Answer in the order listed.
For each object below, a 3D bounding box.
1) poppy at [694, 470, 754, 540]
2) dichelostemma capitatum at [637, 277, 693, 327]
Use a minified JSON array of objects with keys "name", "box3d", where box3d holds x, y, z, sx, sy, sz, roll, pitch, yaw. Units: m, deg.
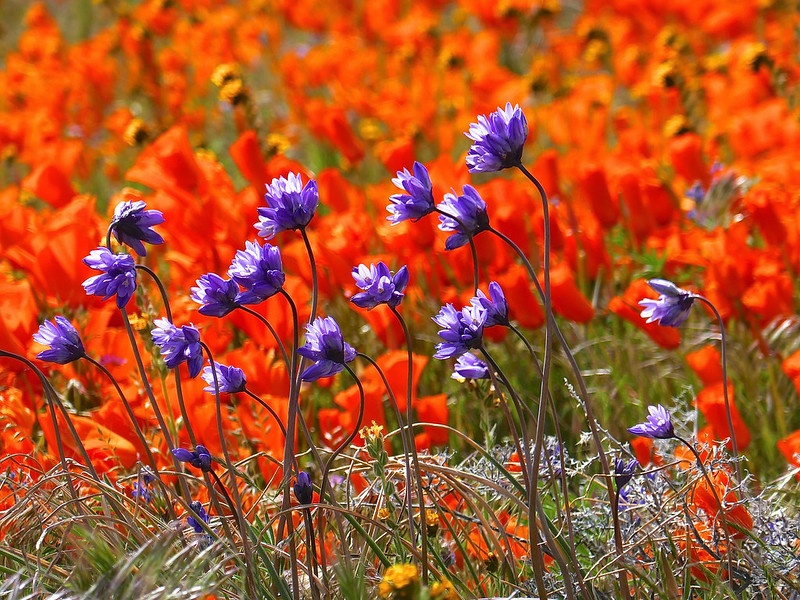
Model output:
[{"name":"poppy","box3d":[0.485,0.307,1.441,0.084,0.112,0.111,-4,-1,14]},{"name":"dichelostemma capitatum","box3d":[0.386,-0.008,1.359,0.053,0.075,0.069,-5,10,-20]}]
